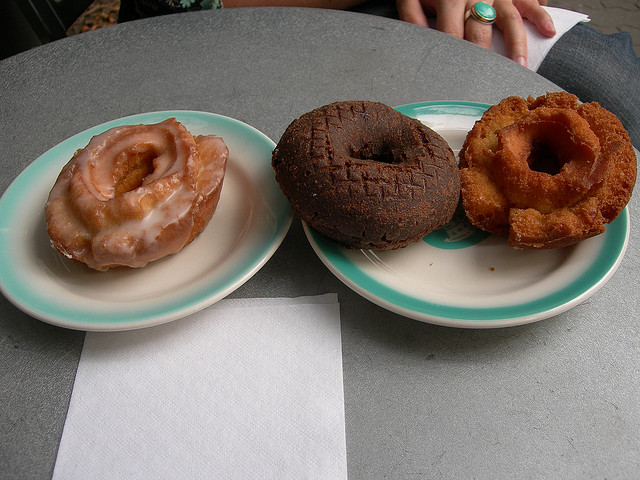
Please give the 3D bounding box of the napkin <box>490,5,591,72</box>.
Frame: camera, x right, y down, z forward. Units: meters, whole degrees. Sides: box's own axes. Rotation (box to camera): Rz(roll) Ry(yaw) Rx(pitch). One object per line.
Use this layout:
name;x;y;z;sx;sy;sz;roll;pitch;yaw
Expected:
napkin;0.654;-0.641;1.741;0.202;0.062;0.346;38;68;20

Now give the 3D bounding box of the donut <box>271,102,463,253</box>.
donut;0.097;-0.145;1.169;0.412;0.148;0.362;-2;49;-17

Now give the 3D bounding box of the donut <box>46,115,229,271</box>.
donut;-0.359;-0.109;1.168;0.352;0.155;0.366;-5;49;1
